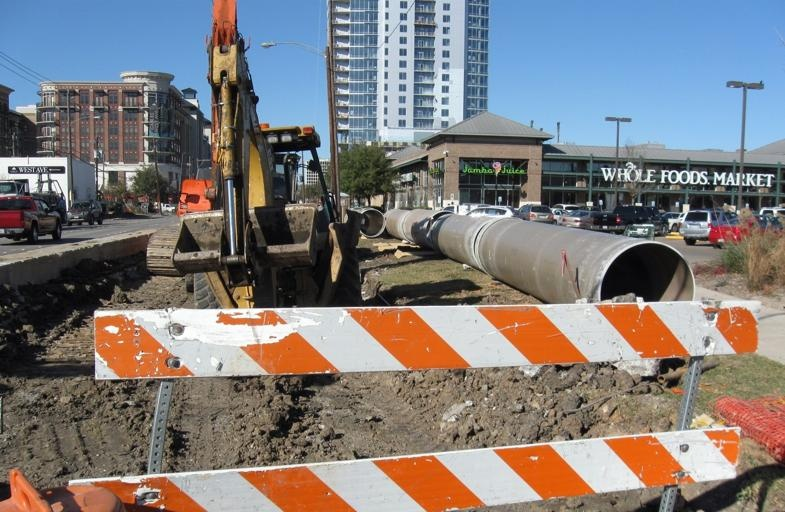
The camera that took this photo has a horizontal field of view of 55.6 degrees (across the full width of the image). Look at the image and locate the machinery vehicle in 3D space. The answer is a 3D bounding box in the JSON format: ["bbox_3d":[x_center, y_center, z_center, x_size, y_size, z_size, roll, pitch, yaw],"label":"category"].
[{"bbox_3d":[-1.640,-0.710,11.083,2.007,3.696,5.718,-1,2,1],"label":"machinery vehicle"}]

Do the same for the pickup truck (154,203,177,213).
[{"bbox_3d":[-25.434,-5.390,83.837,1.787,1.656,2.945,-3,3,-26],"label":"pickup truck"}]

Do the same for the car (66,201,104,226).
[{"bbox_3d":[-16.609,-2.355,40.293,0.897,0.981,2.209,-1,0,-2],"label":"car"}]
